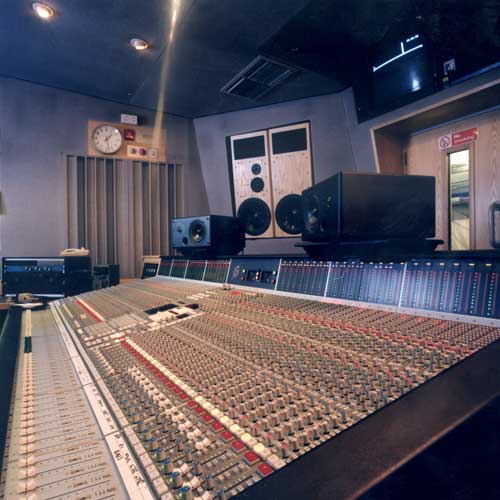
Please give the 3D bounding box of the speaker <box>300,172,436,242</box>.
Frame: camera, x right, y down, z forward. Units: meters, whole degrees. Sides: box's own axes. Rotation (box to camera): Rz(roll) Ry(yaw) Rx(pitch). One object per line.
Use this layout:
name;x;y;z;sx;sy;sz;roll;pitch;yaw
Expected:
speaker;0.545;-0.193;1.848;0.348;0.233;0.483;0;2;-10

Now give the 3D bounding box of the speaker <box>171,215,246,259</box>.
speaker;-0.351;-0.129;3.328;0.554;0.300;0.563;-5;6;-36

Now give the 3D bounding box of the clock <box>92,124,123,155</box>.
clock;-1.827;-1.415;5.150;0.424;0.426;0.073;0;-7;-26

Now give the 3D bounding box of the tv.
tv;1.168;-1.460;3.346;0.989;0.591;0.108;-33;25;-33
